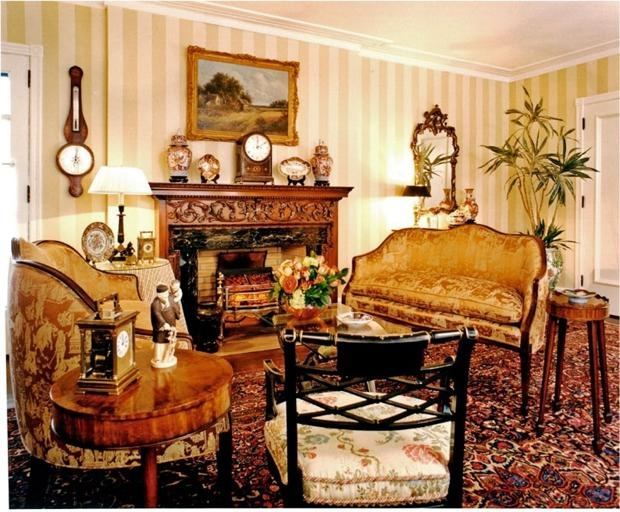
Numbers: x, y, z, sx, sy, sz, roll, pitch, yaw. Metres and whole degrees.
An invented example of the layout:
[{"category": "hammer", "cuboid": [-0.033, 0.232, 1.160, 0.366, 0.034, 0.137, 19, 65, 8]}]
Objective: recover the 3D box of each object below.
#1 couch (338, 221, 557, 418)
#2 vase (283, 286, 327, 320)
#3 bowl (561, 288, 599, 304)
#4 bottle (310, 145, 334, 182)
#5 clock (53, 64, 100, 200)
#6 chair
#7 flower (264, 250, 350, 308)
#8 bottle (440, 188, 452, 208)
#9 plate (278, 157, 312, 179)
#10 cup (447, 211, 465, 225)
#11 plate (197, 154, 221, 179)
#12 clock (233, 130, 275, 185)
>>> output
[{"category": "couch", "cuboid": [1.152, 0.355, 4.213, 1.588, 1.136, 0.819, 8, 17, 40]}, {"category": "vase", "cuboid": [-0.031, 0.288, 3.094, 0.212, 0.144, 0.200, 3, 4, 31]}, {"category": "bowl", "cuboid": [1.523, 0.226, 2.854, 0.169, 0.057, 0.288, 7, 12, 30]}, {"category": "bottle", "cuboid": [0.083, -0.933, 5.196, 0.261, 0.399, 0.183, 11, 16, 43]}, {"category": "clock", "cuboid": [-2.047, -1.056, 4.335, 0.286, 1.105, 0.182, -7, 14, -29]}, {"category": "chair", "cuboid": [0.195, 0.662, 2.056, 0.764, 0.924, 0.567, -1, 12, -6]}, {"category": "flower", "cuboid": [-0.015, 0.163, 3.229, 0.414, 0.378, 0.289, -9, 23, 1]}, {"category": "bottle", "cuboid": [1.647, -0.703, 6.080, 0.133, 0.217, 0.563, 3, 11, 15]}, {"category": "plate", "cuboid": [-0.159, -0.873, 5.067, 0.254, 0.237, 0.058, 5, 8, -17]}, {"category": "cup", "cuboid": [1.405, -0.357, 4.814, 0.146, 0.068, 0.183, 2, 11, 35]}, {"category": "plate", "cuboid": [-0.955, -0.828, 4.737, 0.213, 0.241, 0.255, -2, 12, -11]}, {"category": "clock", "cuboid": [-0.546, -0.931, 4.838, 0.355, 0.492, 0.288, -2, 12, -8]}]
